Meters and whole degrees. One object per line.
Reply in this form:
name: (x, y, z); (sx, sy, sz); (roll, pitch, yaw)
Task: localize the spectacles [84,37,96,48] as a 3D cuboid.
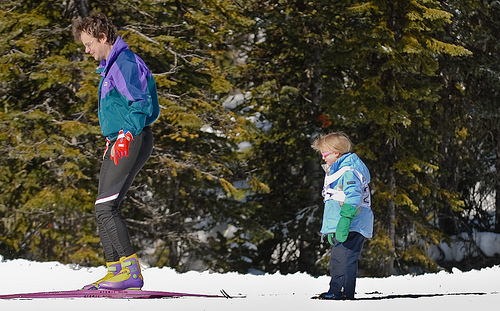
spectacles: (-2.174, -1.517, 8.728); (0.094, 0.024, 0.098); (-51, -14, 29)

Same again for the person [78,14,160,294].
person: (-1.888, -0.011, 8.758); (1.126, 3.640, 1.062); (5, -16, -4)

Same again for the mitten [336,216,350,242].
mitten: (1.284, 1.008, 8.940); (0.175, 0.331, 0.106); (6, -3, 31)

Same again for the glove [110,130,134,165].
glove: (-1.735, -0.111, 8.600); (0.256, 0.405, 0.108); (25, 3, 18)

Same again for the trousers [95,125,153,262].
trousers: (-1.733, 0.490, 8.738); (0.565, 1.821, 0.581); (15, -20, -34)

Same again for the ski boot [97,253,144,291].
ski boot: (-1.784, 1.594, 8.749); (0.682, 0.480, 0.220); (3, -22, -36)

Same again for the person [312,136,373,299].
person: (1.318, 0.865, 9.150); (0.741, 2.237, 0.581); (-3, -18, 22)

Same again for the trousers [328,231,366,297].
trousers: (1.357, 1.506, 9.078); (0.485, 0.876, 0.375); (2, -16, 3)

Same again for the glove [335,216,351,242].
glove: (1.285, 1.004, 8.935); (0.182, 0.345, 0.114); (11, 1, 28)
